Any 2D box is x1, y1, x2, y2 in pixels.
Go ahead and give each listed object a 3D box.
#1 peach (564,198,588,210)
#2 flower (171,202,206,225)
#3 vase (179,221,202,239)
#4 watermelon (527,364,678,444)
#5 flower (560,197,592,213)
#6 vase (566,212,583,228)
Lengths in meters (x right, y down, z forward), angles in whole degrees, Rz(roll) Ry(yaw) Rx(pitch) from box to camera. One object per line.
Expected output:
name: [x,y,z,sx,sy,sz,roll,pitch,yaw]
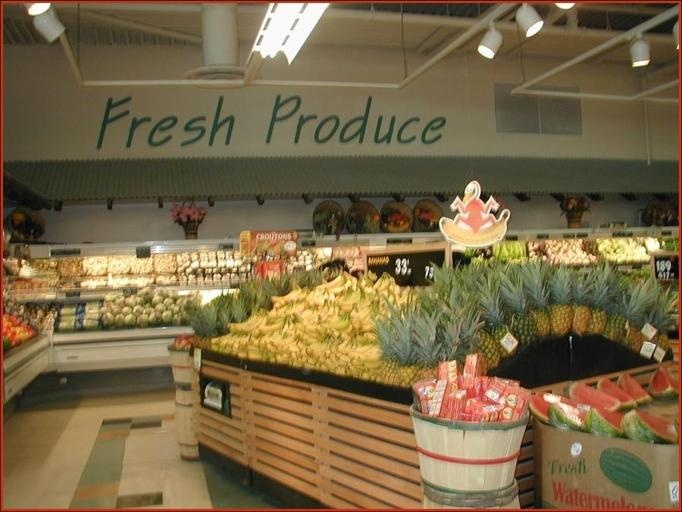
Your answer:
peach: [4.311,-0.992,9.118,0.285,0.144,0.271,-4,7,-17]
flower: [-2.407,-0.699,7.925,0.401,0.260,0.446,31,27,26]
vase: [-2.431,-0.422,7.999,0.302,0.257,0.287,0,3,-12]
watermelon: [1.612,0.825,2.833,0.494,0.283,0.672,1,4,-29]
flower: [4.335,-0.969,9.156,0.360,0.211,0.336,-4,7,-29]
vase: [4.364,-0.685,9.188,0.283,0.257,0.285,2,-3,-22]
